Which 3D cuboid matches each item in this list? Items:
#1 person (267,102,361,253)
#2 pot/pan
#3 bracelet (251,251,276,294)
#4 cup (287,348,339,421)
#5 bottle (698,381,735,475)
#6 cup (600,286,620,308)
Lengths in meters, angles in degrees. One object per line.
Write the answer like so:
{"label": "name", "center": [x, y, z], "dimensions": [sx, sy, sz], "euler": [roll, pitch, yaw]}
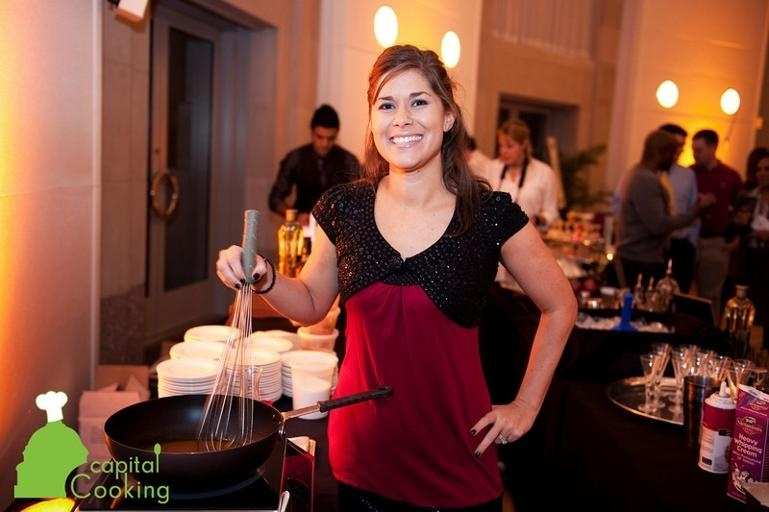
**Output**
{"label": "person", "center": [-0.492, -0.280, 4.326], "dimensions": [0.610, 1.413, 0.531], "euler": [-2, 33, -10]}
{"label": "pot/pan", "center": [-0.432, 0.423, 1.581], "dimensions": [0.445, 0.070, 0.249], "euler": [-1, 7, -37]}
{"label": "bracelet", "center": [-0.360, 0.058, 1.812], "dimensions": [0.078, 0.109, 0.039], "euler": [0, -5, -2]}
{"label": "cup", "center": [-0.291, 0.481, 2.300], "dimensions": [0.191, 0.159, 0.190], "euler": [2, 10, 0]}
{"label": "bottle", "center": [1.130, 0.562, 2.073], "dimensions": [0.101, 0.324, 0.137], "euler": [9, 17, 30]}
{"label": "cup", "center": [1.272, 0.240, 3.447], "dimensions": [0.110, 0.128, 0.124], "euler": [3, -17, -1]}
